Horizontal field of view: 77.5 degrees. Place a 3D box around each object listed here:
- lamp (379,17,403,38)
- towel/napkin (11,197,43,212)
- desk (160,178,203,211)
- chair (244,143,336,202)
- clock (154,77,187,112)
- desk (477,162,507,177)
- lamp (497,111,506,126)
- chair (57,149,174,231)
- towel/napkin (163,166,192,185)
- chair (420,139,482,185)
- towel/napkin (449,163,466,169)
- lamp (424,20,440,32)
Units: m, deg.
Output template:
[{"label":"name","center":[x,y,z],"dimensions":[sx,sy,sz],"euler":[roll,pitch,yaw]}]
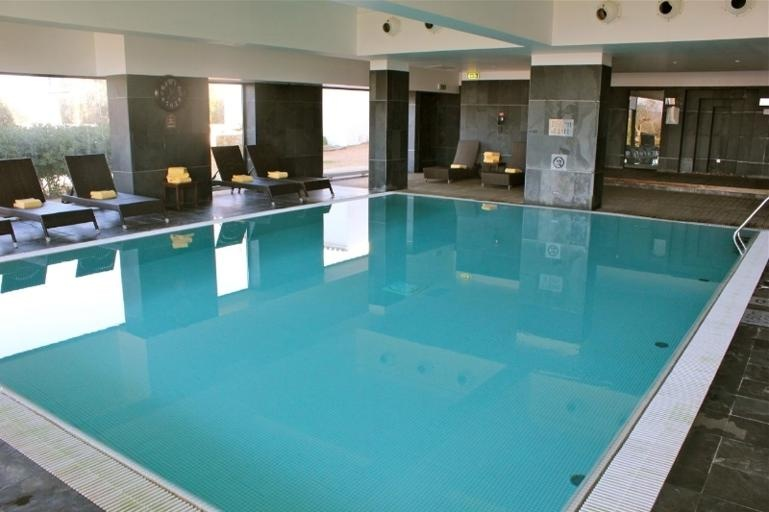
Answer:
[{"label":"lamp","center":[0.186,-6.201,12.996],"dimensions":[0.481,0.476,0.129],"euler":[17,29,30]},{"label":"towel/napkin","center":[-7.241,-1.068,9.762],"dimensions":[0.513,0.153,0.470],"euler":[-10,18,-28]},{"label":"desk","center":[-5.230,-1.567,12.529],"dimensions":[0.897,0.944,0.903],"euler":[-11,19,-38]},{"label":"chair","center":[-2.969,-2.595,14.638],"dimensions":[2.753,1.643,1.500],"euler":[10,18,34]},{"label":"clock","center":[-5.404,-4.193,12.157],"dimensions":[0.739,0.697,0.715],"euler":[-8,5,-21]},{"label":"desk","center":[3.921,-3.153,17.457],"dimensions":[0.943,0.616,0.514],"euler":[7,14,37]},{"label":"lamp","center":[4.574,-5.417,18.902],"dimensions":[0.335,0.513,0.149],"euler":[3,18,15]},{"label":"chair","center":[-6.348,-1.625,11.140],"dimensions":[3.102,1.458,1.304],"euler":[15,23,34]},{"label":"towel/napkin","center":[-5.242,-2.038,12.175],"dimensions":[0.585,0.392,0.520],"euler":[2,15,0]},{"label":"chair","center":[2.604,-3.618,18.223],"dimensions":[1.137,1.343,2.110],"euler":[14,26,42]},{"label":"towel/napkin","center":[2.767,-3.376,18.008],"dimensions":[0.568,0.118,1.463],"euler":[2,16,9]},{"label":"lamp","center":[1.195,-5.966,12.469],"dimensions":[0.273,0.211,0.520],"euler":[-2,16,-3]}]
